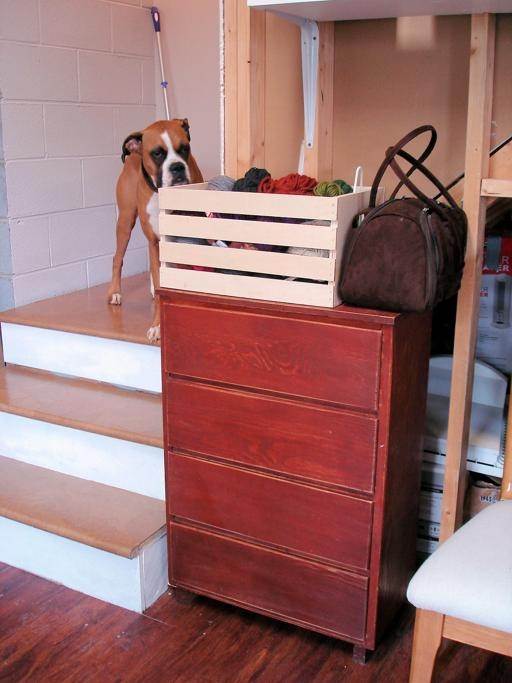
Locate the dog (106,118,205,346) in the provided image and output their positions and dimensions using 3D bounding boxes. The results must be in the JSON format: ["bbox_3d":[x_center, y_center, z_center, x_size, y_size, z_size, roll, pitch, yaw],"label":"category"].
[{"bbox_3d":[-0.362,-0.445,2.113,0.300,0.720,0.807,-10,25,-19],"label":"dog"}]

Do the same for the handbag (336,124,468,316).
[{"bbox_3d":[0.279,-0.233,1.080,0.200,0.346,0.283,4,10,26],"label":"handbag"}]

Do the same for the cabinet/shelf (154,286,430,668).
[{"bbox_3d":[0.103,0.247,1.388,0.527,0.718,0.372,7,14,27],"label":"cabinet/shelf"}]
